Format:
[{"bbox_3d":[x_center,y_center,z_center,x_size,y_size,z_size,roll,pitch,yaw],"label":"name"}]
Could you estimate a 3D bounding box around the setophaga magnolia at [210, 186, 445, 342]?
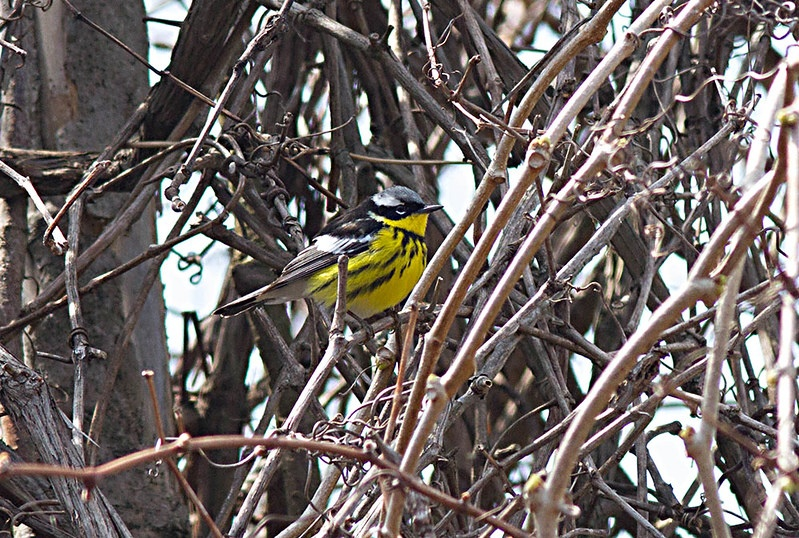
[{"bbox_3d":[-0.220,-0.092,10.375,1.882,0.923,0.653,-7,-7,-22],"label":"setophaga magnolia"}]
